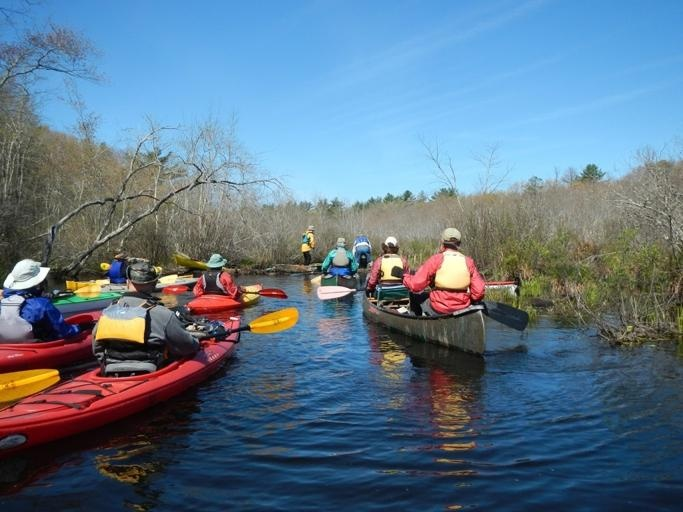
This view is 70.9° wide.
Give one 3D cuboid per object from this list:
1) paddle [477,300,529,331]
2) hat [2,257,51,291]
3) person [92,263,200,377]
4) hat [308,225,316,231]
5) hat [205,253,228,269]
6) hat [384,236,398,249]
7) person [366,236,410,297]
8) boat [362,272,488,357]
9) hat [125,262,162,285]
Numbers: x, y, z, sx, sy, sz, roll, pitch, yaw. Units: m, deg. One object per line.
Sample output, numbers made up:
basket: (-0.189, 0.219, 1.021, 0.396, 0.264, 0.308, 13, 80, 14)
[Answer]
paddle: (3.100, 0.991, 9.026, 0.553, 0.158, 1.493, 4, 5, -2)
hat: (-4.553, 0.208, 7.014, 0.542, 0.408, 0.326, -6, 10, -31)
person: (-2.853, 0.729, 6.921, 1.049, 1.455, 1.601, 3, 16, 2)
hat: (-1.418, -1.394, 22.164, 0.325, 0.291, 0.260, -2, 6, 29)
hat: (-3.027, 0.063, 11.856, 0.557, 0.234, 0.615, -10, 8, -10)
hat: (1.251, -0.447, 11.876, 0.340, 0.250, 0.505, 0, -4, 2)
person: (1.162, 0.310, 12.057, 0.991, 1.660, 1.034, 9, 15, 44)
boat: (1.454, 1.105, 9.944, 0.987, 0.754, 4.527, 1, -3, -14)
hat: (-2.654, 0.194, 6.532, 0.360, 0.282, 0.310, -37, -13, -47)
